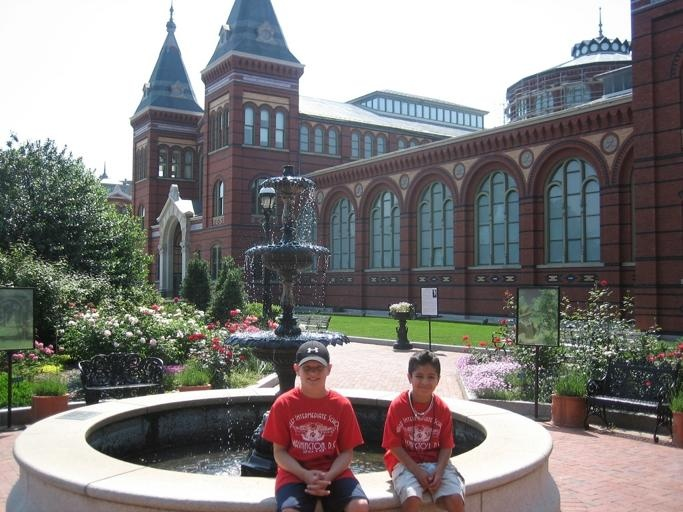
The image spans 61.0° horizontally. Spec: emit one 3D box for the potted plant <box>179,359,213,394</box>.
[{"bbox_3d":[-2.817,2.342,11.200,0.531,0.298,0.591,1,-4,-11],"label":"potted plant"}]

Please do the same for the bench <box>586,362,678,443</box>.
[{"bbox_3d":[4.829,2.444,9.553,0.399,0.882,0.938,15,-16,-34],"label":"bench"}]

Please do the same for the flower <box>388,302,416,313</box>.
[{"bbox_3d":[2.188,1.849,20.487,0.525,0.324,0.541,-4,-7,38],"label":"flower"}]

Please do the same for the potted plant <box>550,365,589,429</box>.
[{"bbox_3d":[4.114,2.514,10.486,0.745,1.304,0.809,-1,-3,32],"label":"potted plant"}]
